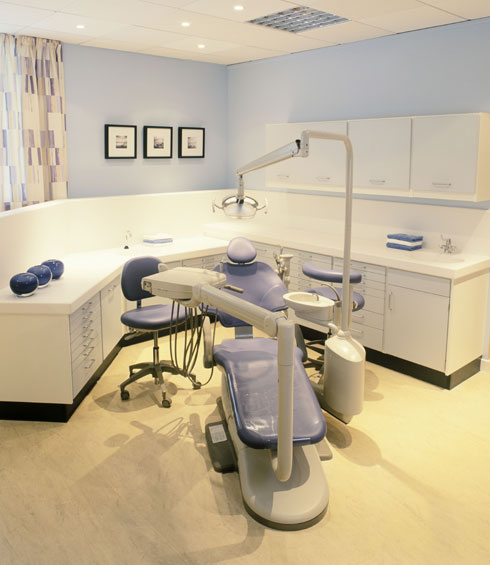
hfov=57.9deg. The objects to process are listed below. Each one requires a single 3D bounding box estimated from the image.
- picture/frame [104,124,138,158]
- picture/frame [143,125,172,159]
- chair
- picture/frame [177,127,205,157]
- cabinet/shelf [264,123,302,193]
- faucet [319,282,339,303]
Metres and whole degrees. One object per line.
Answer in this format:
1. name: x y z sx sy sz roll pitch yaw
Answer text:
1. picture/frame: -1.298 -1.478 4.597 0.036 0.357 0.360 10 12 42
2. picture/frame: -0.977 -1.570 4.902 0.040 0.331 0.367 7 10 38
3. chair: 0.058 0.308 2.505 0.505 0.784 1.101 -3 16 -16
4. picture/frame: -0.648 -1.670 5.215 0.029 0.351 0.354 11 15 42
5. cabinet/shelf: 0.384 -1.286 4.440 0.181 0.632 0.648 -3 9 -25
6. faucet: 0.626 0.056 3.210 0.116 0.077 0.162 -5 19 -26
